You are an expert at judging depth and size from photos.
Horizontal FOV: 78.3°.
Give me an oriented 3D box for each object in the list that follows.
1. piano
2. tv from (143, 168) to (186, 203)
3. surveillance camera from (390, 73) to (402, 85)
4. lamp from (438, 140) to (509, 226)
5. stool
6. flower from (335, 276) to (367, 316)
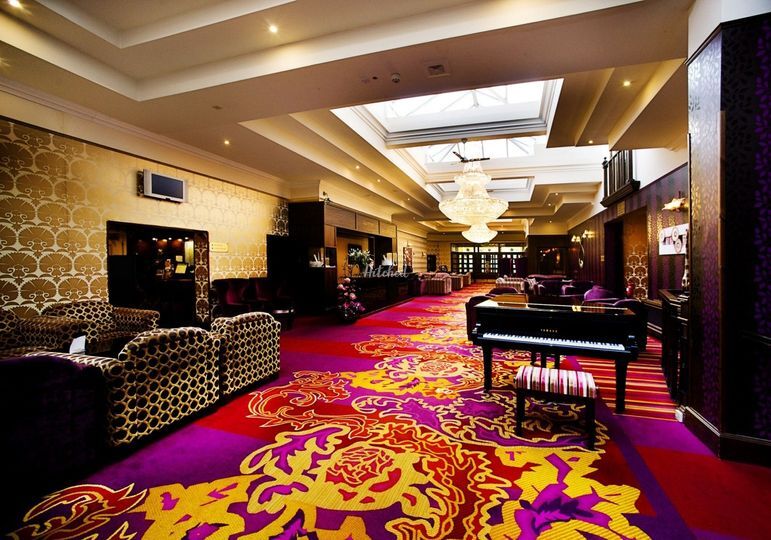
[{"bbox_3d":[2.336,1.378,6.411,1.988,1.307,1.310,-1,-5,19],"label":"piano"},{"bbox_3d":[-4.066,-1.534,8.757,0.171,0.473,0.902,-1,0,22],"label":"tv"},{"bbox_3d":[0.139,-2.678,6.618,0.149,0.049,0.245,-1,0,2],"label":"surveillance camera"},{"bbox_3d":[2.154,-2.008,11.749,1.786,1.793,1.732,0,-1,-15],"label":"lamp"},{"bbox_3d":[2.001,1.447,5.561,0.999,0.853,0.757,-1,-3,23],"label":"stool"},{"bbox_3d":[-0.797,0.681,10.916,0.800,1.251,0.803,-4,-6,2],"label":"flower"}]
